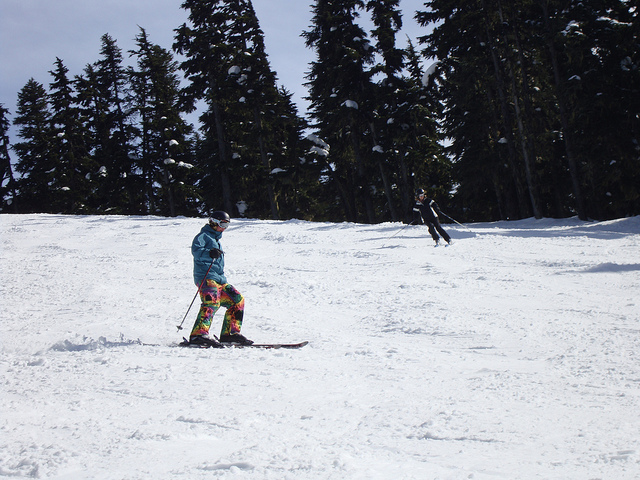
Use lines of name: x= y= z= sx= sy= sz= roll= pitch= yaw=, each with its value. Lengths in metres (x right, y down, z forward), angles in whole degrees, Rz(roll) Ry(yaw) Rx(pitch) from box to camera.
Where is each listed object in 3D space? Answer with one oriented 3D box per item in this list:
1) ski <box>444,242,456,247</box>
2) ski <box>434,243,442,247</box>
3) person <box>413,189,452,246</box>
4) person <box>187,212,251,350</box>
ski: x=4.325 y=0.165 z=24.477 sx=0.106 sy=0.113 sz=0.382 roll=-9 pitch=3 yaw=39
ski: x=3.936 y=0.183 z=24.537 sx=0.060 sy=0.062 sz=0.386 roll=1 pitch=9 yaw=24
person: x=3.769 y=-0.648 z=25.140 sx=0.848 sy=2.176 sz=0.573 roll=-35 pitch=-27 yaw=23
person: x=-2.346 y=0.891 z=16.029 sx=1.200 sy=2.965 sz=0.508 roll=-6 pitch=0 yaw=-12
